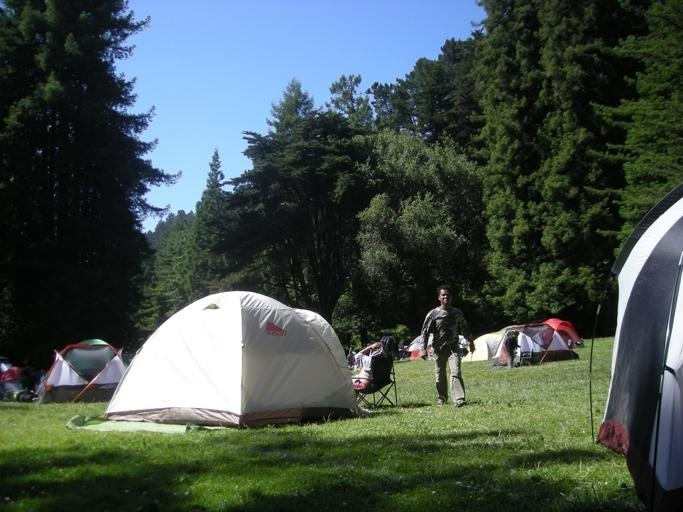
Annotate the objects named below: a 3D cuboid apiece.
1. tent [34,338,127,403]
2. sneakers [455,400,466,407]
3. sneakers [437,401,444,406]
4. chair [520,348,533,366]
[{"bbox_3d":[-8.242,3.726,20.193,1.856,1.343,2.561,1,-10,-17],"label":"tent"},{"bbox_3d":[2.512,3.146,13.559,0.227,0.175,0.283,-2,-1,13],"label":"sneakers"},{"bbox_3d":[2.172,3.291,14.079,0.089,0.045,0.114,9,0,-35],"label":"sneakers"},{"bbox_3d":[7.504,4.183,25.904,0.458,0.450,0.538,2,-30,-2],"label":"chair"}]
